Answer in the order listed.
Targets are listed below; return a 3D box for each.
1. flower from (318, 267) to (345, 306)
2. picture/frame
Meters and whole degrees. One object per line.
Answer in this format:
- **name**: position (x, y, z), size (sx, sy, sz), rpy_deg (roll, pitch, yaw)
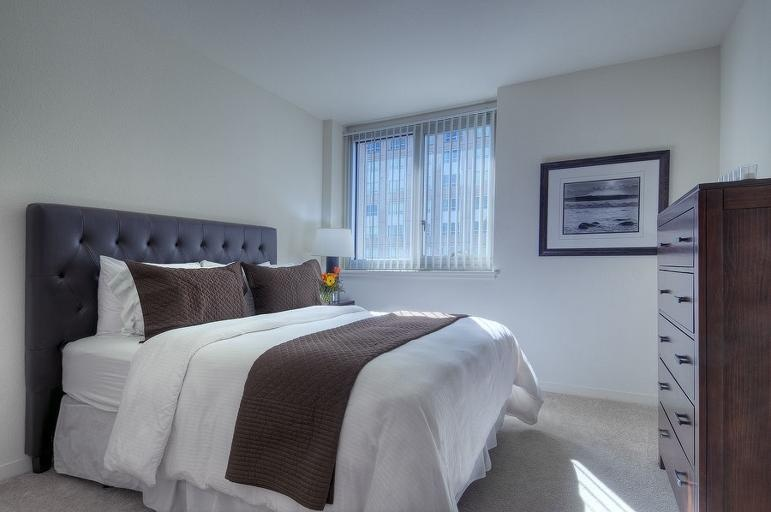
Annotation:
- **flower**: position (-0.547, 0.352, 5.358), size (0.324, 0.378, 0.341), rpy_deg (2, -2, -23)
- **picture/frame**: position (2.040, -0.472, 4.538), size (1.000, 0.870, 0.079), rpy_deg (-2, -4, 25)
